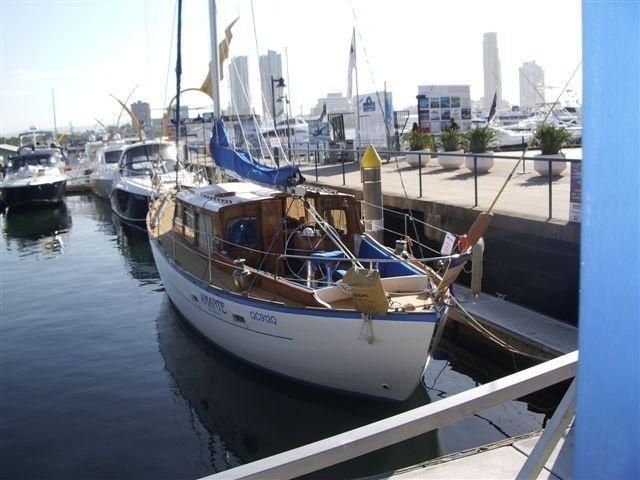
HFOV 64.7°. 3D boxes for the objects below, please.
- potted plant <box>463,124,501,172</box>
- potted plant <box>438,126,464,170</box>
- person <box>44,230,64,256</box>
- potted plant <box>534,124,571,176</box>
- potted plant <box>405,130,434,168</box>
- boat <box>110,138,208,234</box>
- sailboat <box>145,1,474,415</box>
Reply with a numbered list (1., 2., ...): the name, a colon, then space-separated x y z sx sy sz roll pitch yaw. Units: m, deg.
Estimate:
1. potted plant: 4.906 -2.901 15.790 0.869 1.464 0.937 0 6 -6
2. potted plant: 4.402 -3.081 17.083 0.772 1.397 0.844 2 -3 4
3. person: -9.444 0.067 18.000 0.652 0.628 3.678 -8 12 -24
4. potted plant: 5.973 -2.390 13.134 0.649 0.974 0.613 9 18 15
5. potted plant: 3.580 -3.326 18.507 0.868 1.303 0.957 -2 -6 -41
6. boat: -6.086 -1.875 18.422 2.330 2.712 7.554 -7 19 -23
7. sailboat: -0.373 0.209 8.254 2.251 3.870 6.074 -10 24 -29
